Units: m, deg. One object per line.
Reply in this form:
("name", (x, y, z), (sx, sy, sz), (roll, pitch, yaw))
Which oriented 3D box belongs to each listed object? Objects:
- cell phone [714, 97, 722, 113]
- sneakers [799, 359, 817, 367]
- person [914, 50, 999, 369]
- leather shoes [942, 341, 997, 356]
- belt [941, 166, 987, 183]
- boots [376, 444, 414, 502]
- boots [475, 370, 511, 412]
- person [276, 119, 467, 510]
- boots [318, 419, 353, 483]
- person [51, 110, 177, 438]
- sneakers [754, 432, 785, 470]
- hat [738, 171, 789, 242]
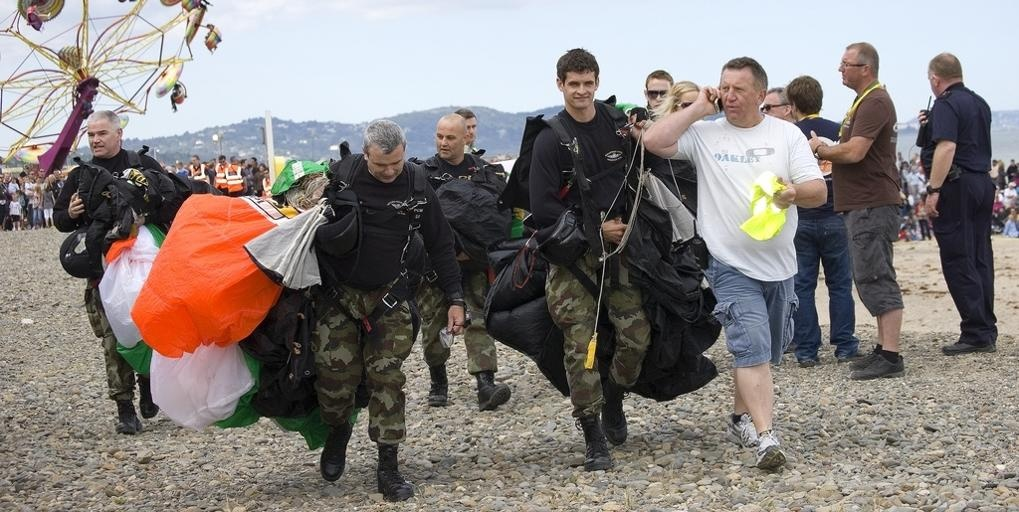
("cell phone", (2.153, -1.542, 8.824), (0.097, 0.130, 0.133), (-1, 14, 2))
("sneakers", (3.834, 1.376, 11.020), (0.125, 0.049, 0.151), (0, -5, -16))
("person", (5.646, -0.646, 10.803), (0.812, 3.770, 0.535), (-2, 5, 18))
("leather shoes", (5.741, 1.145, 10.849), (0.677, 0.241, 0.226), (2, 5, 12))
("belt", (5.666, -1.015, 10.720), (0.405, 0.118, 0.260), (-1, 1, 12))
("boots", (-1.212, 2.267, 9.055), (0.317, 0.530, 0.847), (-5, 0, -19))
("boots", (-0.218, 1.617, 10.820), (0.313, 0.518, 0.768), (-5, -20, -20))
("person", (-1.332, 0.558, 9.012), (1.529, 3.906, 0.639), (-5, 4, -12))
("boots", (-1.841, 2.103, 9.271), (0.294, 0.688, 0.302), (8, 3, 1))
("person", (-4.770, 0.234, 10.309), (1.118, 3.852, 0.668), (-6, 5, -24))
("sneakers", (2.640, 1.969, 8.706), (0.304, 0.390, 0.218), (-2, 4, 14))
("hat", (2.562, -0.484, 8.648), (0.255, 0.594, 0.526), (14, 11, -34))
